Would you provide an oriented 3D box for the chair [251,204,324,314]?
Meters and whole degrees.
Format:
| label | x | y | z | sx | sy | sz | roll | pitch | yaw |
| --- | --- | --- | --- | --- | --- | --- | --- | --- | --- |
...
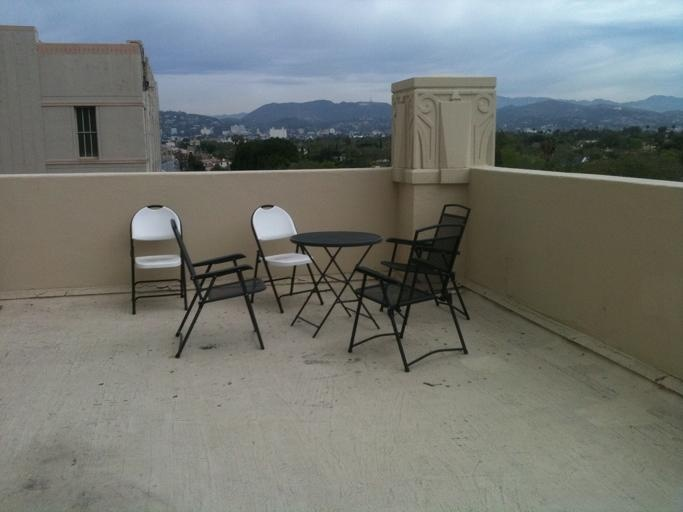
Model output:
| label | x | y | z | sx | sy | sz | roll | pitch | yaw |
| --- | --- | --- | --- | --- | --- | --- | --- | --- | --- |
| chair | -0.607 | -0.013 | 5.356 | 0.618 | 1.082 | 0.776 | -5 | 11 | -23 |

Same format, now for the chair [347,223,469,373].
| label | x | y | z | sx | sy | sz | roll | pitch | yaw |
| --- | --- | --- | --- | --- | --- | --- | --- | --- | --- |
| chair | 0.609 | 0.282 | 4.264 | 0.906 | 1.132 | 0.908 | 8 | 14 | 42 |
